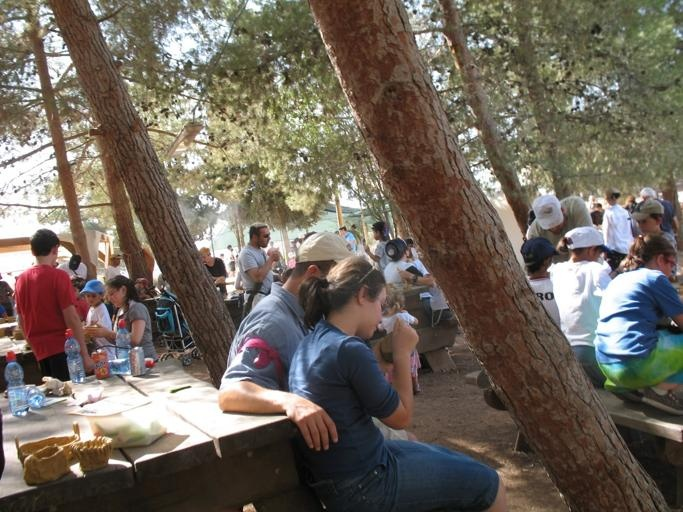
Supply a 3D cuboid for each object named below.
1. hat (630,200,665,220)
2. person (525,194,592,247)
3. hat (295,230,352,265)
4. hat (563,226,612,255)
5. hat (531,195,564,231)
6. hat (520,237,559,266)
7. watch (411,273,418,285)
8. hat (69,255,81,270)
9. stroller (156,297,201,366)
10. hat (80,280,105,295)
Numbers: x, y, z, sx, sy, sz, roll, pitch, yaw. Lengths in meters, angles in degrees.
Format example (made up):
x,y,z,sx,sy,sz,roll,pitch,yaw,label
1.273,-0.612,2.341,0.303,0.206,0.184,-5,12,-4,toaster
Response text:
x,y,z,sx,sy,sz,roll,pitch,yaw,label
4.816,-0.721,7.441,0.404,0.267,0.313,-3,6,17,hat
2.639,-0.517,6.030,0.903,0.497,0.517,-32,21,-33,person
-0.120,-0.083,3.028,0.274,0.159,0.203,-14,9,-18,hat
2.459,-0.156,4.752,0.329,0.193,0.238,-6,9,-25,hat
2.593,-0.538,5.910,0.347,0.443,0.256,5,9,27,hat
1.965,-0.080,4.743,0.328,0.192,0.237,-36,29,-31,hat
1.134,0.374,7.297,0.041,0.117,0.081,7,0,-14,watch
-5.781,0.139,10.292,0.231,0.359,0.340,9,1,-24,hat
-3.037,1.361,9.096,0.822,1.311,1.029,-5,1,23,stroller
-3.267,0.417,6.302,0.176,0.138,0.254,0,-10,2,hat
